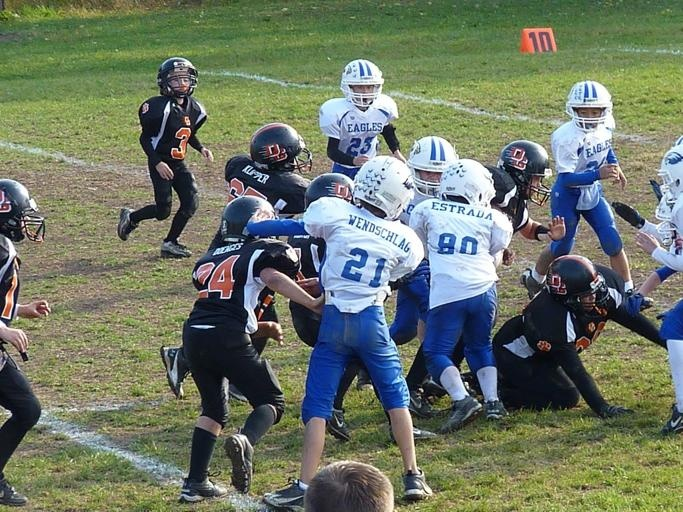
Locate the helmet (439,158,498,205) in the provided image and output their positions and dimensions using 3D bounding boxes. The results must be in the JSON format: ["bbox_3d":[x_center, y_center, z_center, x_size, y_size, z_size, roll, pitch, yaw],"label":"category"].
[{"bbox_3d":[1.113,-0.685,10.226,0.565,0.362,0.406,-7,16,-36],"label":"helmet"}]

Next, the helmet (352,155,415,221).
[{"bbox_3d":[0.363,-0.578,9.601,0.522,0.551,0.286,0,11,-2],"label":"helmet"}]

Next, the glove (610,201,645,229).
[{"bbox_3d":[3.286,-0.477,12.380,0.430,0.144,0.220,35,-21,-6],"label":"glove"}]

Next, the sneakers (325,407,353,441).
[{"bbox_3d":[-0.048,1.545,10.041,0.247,0.284,0.179,-5,12,-26],"label":"sneakers"}]

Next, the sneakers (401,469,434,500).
[{"bbox_3d":[0.627,1.913,9.138,0.158,0.145,0.350,-4,-3,15],"label":"sneakers"}]

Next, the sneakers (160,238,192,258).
[{"bbox_3d":[-2.112,-0.074,13.786,0.541,0.198,0.151,2,20,-5],"label":"sneakers"}]

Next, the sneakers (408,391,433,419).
[{"bbox_3d":[0.731,1.396,10.346,0.188,0.234,0.219,-8,14,-39],"label":"sneakers"}]

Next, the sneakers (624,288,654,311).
[{"bbox_3d":[2.940,0.430,10.908,0.245,0.137,0.305,25,1,-22],"label":"sneakers"}]

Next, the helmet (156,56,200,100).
[{"bbox_3d":[-2.021,-2.201,13.613,0.394,0.479,0.444,9,13,38],"label":"helmet"}]

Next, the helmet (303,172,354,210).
[{"bbox_3d":[-0.076,-0.617,10.424,0.463,0.291,0.308,7,10,-25],"label":"helmet"}]

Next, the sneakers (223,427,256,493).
[{"bbox_3d":[-0.846,1.757,9.221,0.202,0.576,0.245,4,12,17],"label":"sneakers"}]

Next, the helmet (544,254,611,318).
[{"bbox_3d":[2.234,0.234,10.215,0.686,0.437,0.444,15,37,22],"label":"helmet"}]

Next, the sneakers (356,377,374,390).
[{"bbox_3d":[0.201,1.269,10.976,0.126,0.144,0.168,-6,-7,-17],"label":"sneakers"}]

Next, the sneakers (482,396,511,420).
[{"bbox_3d":[1.421,1.413,10.164,0.238,0.125,0.370,-1,-8,1],"label":"sneakers"}]

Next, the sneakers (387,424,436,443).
[{"bbox_3d":[0.632,1.591,9.934,0.549,0.170,0.155,0,5,-3],"label":"sneakers"}]

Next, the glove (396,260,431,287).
[{"bbox_3d":[0.719,0.209,10.761,0.339,0.160,0.224,-26,37,-6],"label":"glove"}]

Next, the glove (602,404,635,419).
[{"bbox_3d":[2.505,1.410,9.993,0.207,0.063,0.143,5,0,-43],"label":"glove"}]
